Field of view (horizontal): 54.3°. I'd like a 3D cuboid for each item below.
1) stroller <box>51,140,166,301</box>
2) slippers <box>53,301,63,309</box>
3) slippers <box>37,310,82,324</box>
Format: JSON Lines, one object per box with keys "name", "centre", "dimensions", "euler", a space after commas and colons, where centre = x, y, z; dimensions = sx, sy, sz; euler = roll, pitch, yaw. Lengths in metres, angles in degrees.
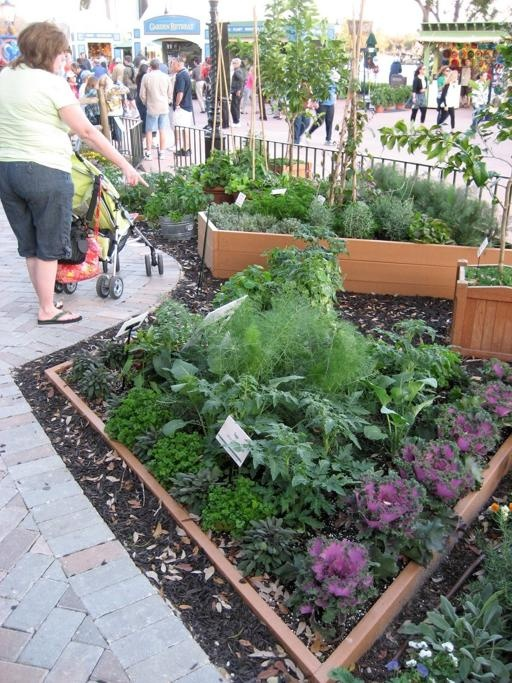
{"name": "stroller", "centre": [-1.514, -1.164, 4.806], "dimensions": [0.846, 1.238, 1.136], "euler": [8, 23, 16]}
{"name": "slippers", "centre": [-1.724, -0.322, 4.336], "dimensions": [0.078, 0.024, 0.075], "euler": [1, 38, 17]}
{"name": "slippers", "centre": [-1.616, -0.180, 4.078], "dimensions": [0.260, 0.080, 0.140], "euler": [-4, 25, -13]}
